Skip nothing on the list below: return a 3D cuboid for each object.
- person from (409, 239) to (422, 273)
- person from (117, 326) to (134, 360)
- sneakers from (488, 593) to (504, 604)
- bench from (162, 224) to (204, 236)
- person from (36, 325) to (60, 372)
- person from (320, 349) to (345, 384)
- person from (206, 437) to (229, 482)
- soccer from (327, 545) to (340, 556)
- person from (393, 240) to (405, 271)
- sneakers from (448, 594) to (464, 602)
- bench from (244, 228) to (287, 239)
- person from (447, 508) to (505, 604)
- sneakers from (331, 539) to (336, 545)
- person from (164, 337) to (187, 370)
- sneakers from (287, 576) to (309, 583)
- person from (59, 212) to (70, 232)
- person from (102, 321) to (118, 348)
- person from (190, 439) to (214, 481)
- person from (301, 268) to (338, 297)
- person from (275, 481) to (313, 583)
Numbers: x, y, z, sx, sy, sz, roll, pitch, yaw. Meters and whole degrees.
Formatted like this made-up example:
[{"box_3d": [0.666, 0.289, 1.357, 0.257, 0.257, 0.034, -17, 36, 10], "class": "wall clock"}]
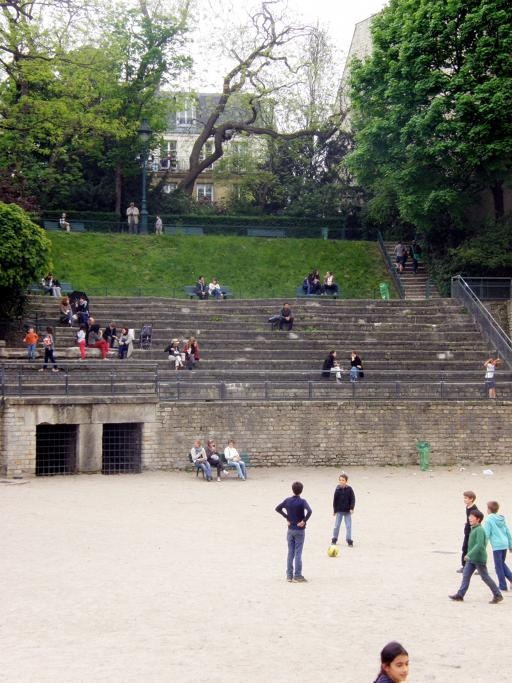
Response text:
[{"box_3d": [6.055, -3.124, 66.049, 0.427, 1.022, 1.279, 2, 13, 6], "class": "person"}, {"box_3d": [-3.810, 0.069, 51.426, 0.440, 0.868, 1.149, 0, 13, -5], "class": "person"}, {"box_3d": [4.670, 5.012, 33.969, 0.250, 0.284, 0.133, 4, 4, 26], "class": "sneakers"}, {"box_3d": [-2.840, -4.381, 69.738, 1.609, 0.366, 0.549, 0, 13, -9], "class": "bench"}, {"box_3d": [-5.675, 0.236, 48.316, 0.447, 1.217, 0.371, 2, 1, -15], "class": "person"}, {"box_3d": [2.233, 0.785, 49.718, 0.775, 1.413, 0.577, -2, 5, -13], "class": "person"}, {"box_3d": [-1.030, 3.167, 45.881, 0.405, 0.668, 1.093, -2, 23, -12], "class": "person"}, {"box_3d": [1.642, 4.390, 36.724, 0.158, 0.185, 0.220, 15, 36, 0], "class": "soccer"}, {"box_3d": [5.475, -3.182, 66.538, 0.375, 1.088, 1.069, 2, 13, 4], "class": "person"}, {"box_3d": [3.888, 5.003, 33.959, 0.293, 0.166, 0.111, 17, 45, -8], "class": "sneakers"}, {"box_3d": [0.389, -4.397, 70.955, 1.685, 0.351, 1.076, -4, 15, -23], "class": "bench"}, {"box_3d": [4.309, 4.177, 33.915, 1.014, 1.884, 0.802, 3, 12, 8], "class": "person"}, {"box_3d": [1.676, 4.330, 37.571, 0.111, 0.169, 0.361, -1, -7, 6], "class": "sneakers"}, {"box_3d": [-2.311, 0.421, 50.702, 0.564, 0.824, 1.123, 0, 13, -6], "class": "person"}, {"box_3d": [0.849, 4.749, 34.931, 0.380, 0.190, 0.148, -1, 4, -2], "class": "sneakers"}, {"box_3d": [-7.311, -4.585, 67.287, 0.431, 0.678, 1.839, 0, 14, -6], "class": "person"}, {"box_3d": [-4.350, -0.137, 51.957, 0.414, 1.094, 0.608, 0, -1, -32], "class": "person"}, {"box_3d": [-1.418, 3.112, 45.772, 0.624, 1.137, 1.697, 1, 13, -2], "class": "person"}, {"box_3d": [2.196, -2.010, 61.667, 0.882, 0.752, 1.049, -3, 7, -33], "class": "person"}, {"box_3d": [0.764, 3.812, 34.986, 0.599, 2.009, 0.755, 0, 12, -6], "class": "person"}]
